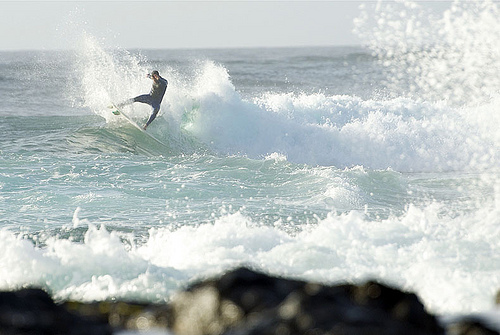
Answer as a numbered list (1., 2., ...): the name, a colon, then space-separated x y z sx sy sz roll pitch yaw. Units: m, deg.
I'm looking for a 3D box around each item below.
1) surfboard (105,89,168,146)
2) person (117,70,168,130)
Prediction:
1. surfboard: -3.394 -1.448 23.750 2.831 0.375 0.328 35 50 13
2. person: -3.030 -1.978 23.274 0.943 1.851 0.802 11 23 32
